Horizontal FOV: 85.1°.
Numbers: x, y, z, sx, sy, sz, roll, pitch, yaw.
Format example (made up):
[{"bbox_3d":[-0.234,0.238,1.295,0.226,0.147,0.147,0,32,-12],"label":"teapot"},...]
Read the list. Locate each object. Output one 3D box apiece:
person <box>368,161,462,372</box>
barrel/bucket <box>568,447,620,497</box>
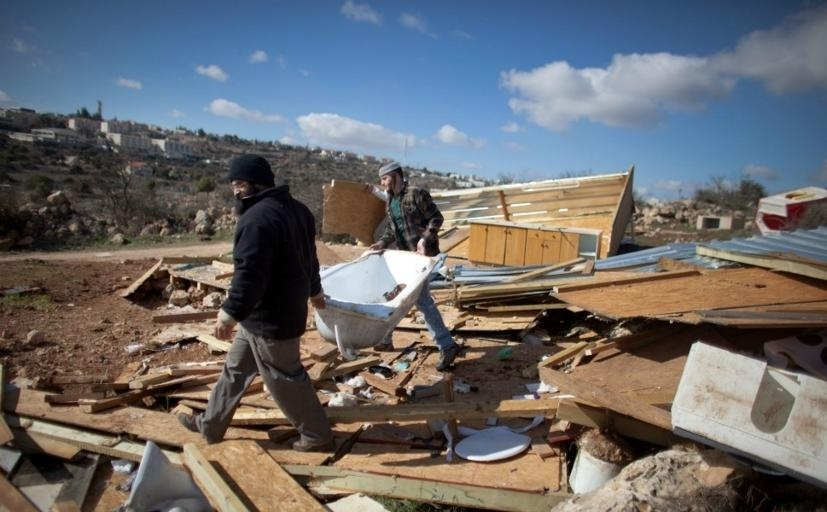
[{"bbox_3d":[0.122,0.010,6.655,1.660,2.660,0.990,-1,2,-30],"label":"person"},{"bbox_3d":[1.693,2.051,4.231,0.436,0.423,0.256,6,9,24],"label":"barrel/bucket"}]
